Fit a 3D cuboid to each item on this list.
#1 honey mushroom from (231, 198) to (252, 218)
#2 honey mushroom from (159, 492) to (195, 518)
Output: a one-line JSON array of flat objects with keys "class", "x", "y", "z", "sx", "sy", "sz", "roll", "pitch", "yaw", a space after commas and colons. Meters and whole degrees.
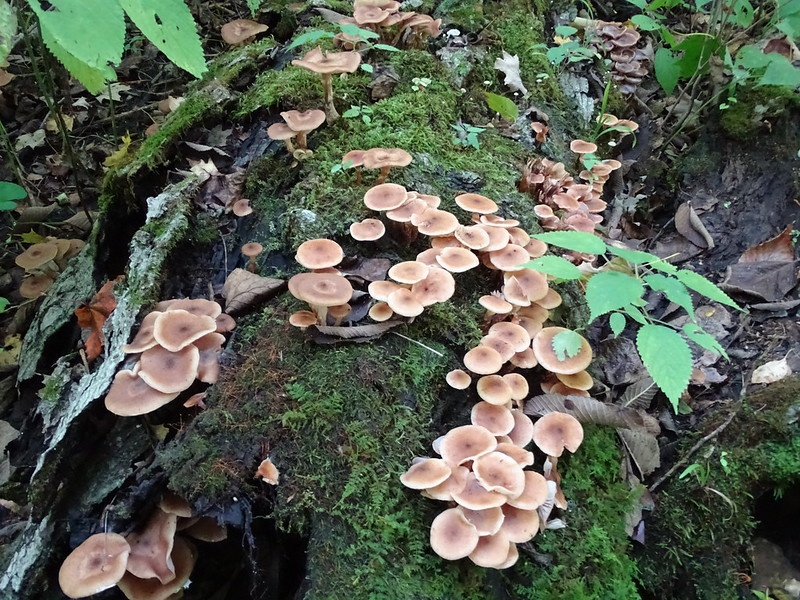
[{"class": "honey mushroom", "x": -1.599, "y": -0.937, "z": 6.037, "sx": 0.199, "sy": 0.133, "sz": 0.202, "roll": -19, "pitch": 75, "yaw": -13}, {"class": "honey mushroom", "x": -1.789, "y": 1.641, "z": 4.792, "sx": 0.238, "sy": 0.057, "sz": 0.219, "roll": 27, "pitch": 23, "yaw": -24}]
